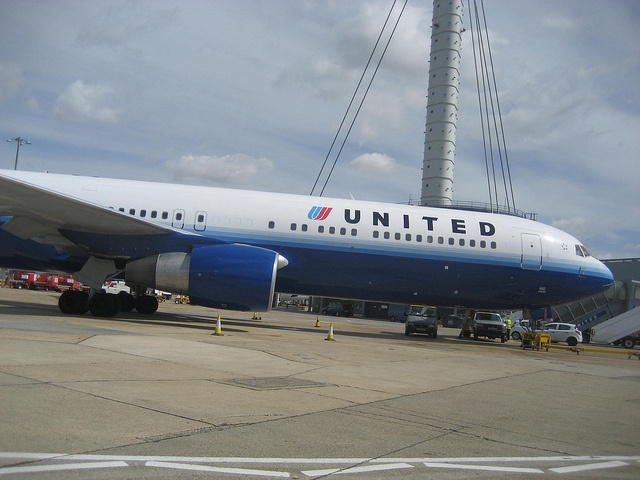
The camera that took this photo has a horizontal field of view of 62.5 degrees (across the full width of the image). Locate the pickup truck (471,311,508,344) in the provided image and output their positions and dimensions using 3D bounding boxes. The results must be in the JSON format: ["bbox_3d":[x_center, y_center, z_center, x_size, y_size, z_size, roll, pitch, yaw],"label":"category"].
[{"bbox_3d":[8.447,4.285,26.893,1.667,1.012,2.695,3,-1,5],"label":"pickup truck"}]

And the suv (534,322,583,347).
[{"bbox_3d":[15.296,5.990,33.303,1.828,1.314,1.964,8,-4,1],"label":"suv"}]

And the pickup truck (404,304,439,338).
[{"bbox_3d":[4.550,3.642,23.647,1.473,0.841,2.009,0,-12,9],"label":"pickup truck"}]

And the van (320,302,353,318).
[{"bbox_3d":[1.633,8.094,62.421,4.400,1.352,2.524,2,1,33],"label":"van"}]
